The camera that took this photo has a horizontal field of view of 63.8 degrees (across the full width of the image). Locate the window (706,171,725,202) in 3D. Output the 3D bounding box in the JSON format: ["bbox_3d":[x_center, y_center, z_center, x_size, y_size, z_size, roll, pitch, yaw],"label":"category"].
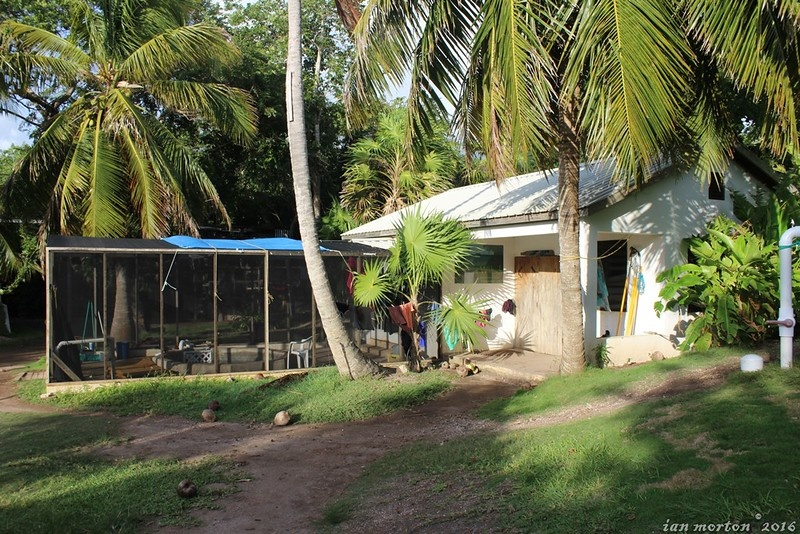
[{"bbox_3d":[8.382,-2.175,17.128,0.720,0.915,0.064,-3,9,-20],"label":"window"}]

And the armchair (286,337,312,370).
[{"bbox_3d":[-2.659,2.357,17.269,0.674,0.984,0.723,5,-7,-42],"label":"armchair"}]

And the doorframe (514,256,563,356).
[{"bbox_3d":[3.799,1.004,18.044,1.461,2.762,0.203,2,-11,-13],"label":"doorframe"}]

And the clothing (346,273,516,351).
[{"bbox_3d":[0.648,0.951,16.353,3.238,2.270,0.983,7,20,37],"label":"clothing"}]
